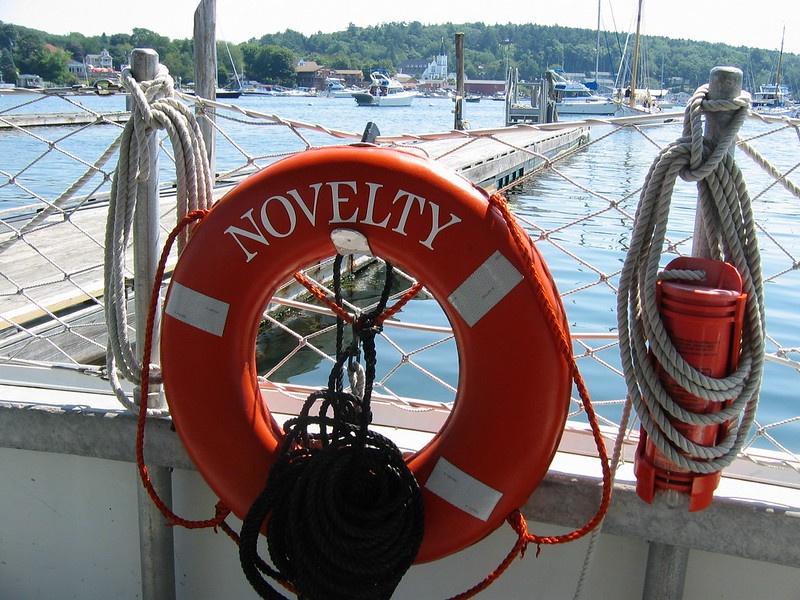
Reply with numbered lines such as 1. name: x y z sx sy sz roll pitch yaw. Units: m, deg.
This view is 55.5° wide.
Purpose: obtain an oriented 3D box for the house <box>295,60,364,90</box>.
1. house: -9.125 -27.083 91.195 5.501 2.529 9.857 15 24 35
